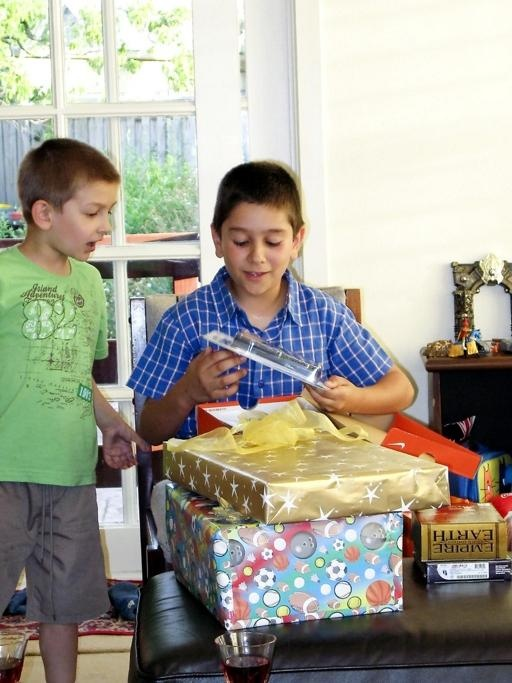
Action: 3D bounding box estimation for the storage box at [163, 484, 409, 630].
[{"bbox_3d":[0.028,0.167,0.579,0.131,0.074,0.169,-4,4,-10],"label":"storage box"}]
